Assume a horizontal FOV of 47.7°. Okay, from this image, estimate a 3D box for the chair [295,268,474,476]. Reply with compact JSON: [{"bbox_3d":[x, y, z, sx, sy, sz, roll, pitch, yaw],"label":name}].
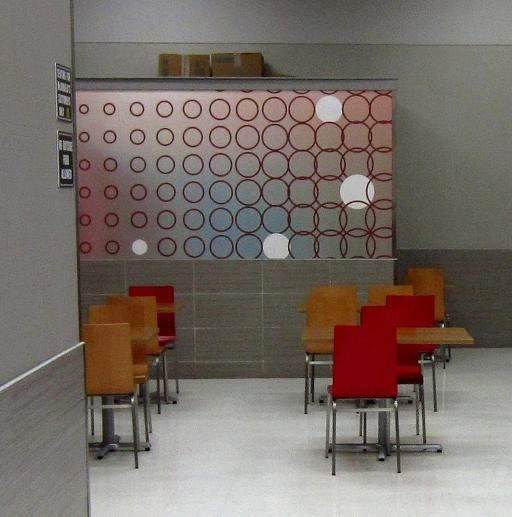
[{"bbox_3d":[0.962,0.785,4.596,1.213,1.582,1.083,0,-4,1],"label":"chair"}]
